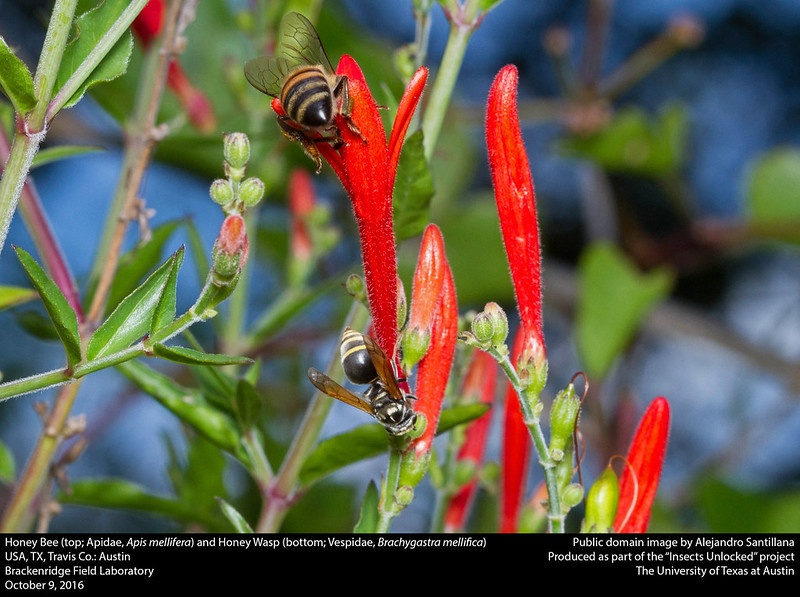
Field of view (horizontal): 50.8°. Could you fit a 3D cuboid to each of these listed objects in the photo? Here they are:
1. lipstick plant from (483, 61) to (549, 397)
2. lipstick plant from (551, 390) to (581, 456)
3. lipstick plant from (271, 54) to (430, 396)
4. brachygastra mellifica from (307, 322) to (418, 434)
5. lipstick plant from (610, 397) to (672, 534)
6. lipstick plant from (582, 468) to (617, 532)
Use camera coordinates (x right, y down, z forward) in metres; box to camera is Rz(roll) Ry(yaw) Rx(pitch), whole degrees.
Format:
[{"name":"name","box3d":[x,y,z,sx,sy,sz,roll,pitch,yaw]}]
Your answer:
[{"name":"lipstick plant","box3d":[0.168,-0.122,1.431,0.123,0.527,0.129,1,9,-8]},{"name":"lipstick plant","box3d":[0.266,0.203,1.361,0.051,0.111,0.079,0,-26,10]},{"name":"lipstick plant","box3d":[-0.089,-0.128,1.401,0.177,0.516,0.177,-7,11,-40]},{"name":"brachygastra mellifica","box3d":[-0.055,0.122,1.401,0.054,0.186,0.137,-1,-45,-51]},{"name":"lipstick plant","box3d":[0.420,0.290,1.451,0.083,0.224,0.108,14,-27,-19]},{"name":"lipstick plant","box3d":[0.338,0.342,1.409,0.065,0.101,0.092,2,-26,5]}]
